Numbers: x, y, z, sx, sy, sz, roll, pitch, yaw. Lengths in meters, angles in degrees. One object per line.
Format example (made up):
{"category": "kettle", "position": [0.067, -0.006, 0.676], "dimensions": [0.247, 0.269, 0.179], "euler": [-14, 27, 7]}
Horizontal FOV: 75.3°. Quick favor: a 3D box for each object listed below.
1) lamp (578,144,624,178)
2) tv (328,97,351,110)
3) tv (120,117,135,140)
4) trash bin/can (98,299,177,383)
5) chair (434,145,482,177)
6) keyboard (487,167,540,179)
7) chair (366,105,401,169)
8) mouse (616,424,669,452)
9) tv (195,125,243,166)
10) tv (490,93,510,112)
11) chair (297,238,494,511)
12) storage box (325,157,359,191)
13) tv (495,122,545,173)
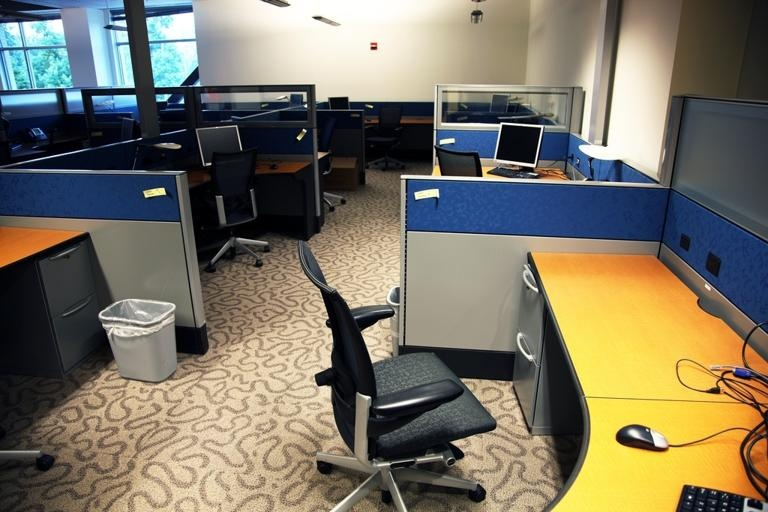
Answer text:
{"category": "lamp", "position": [1.554, -0.675, 3.598], "dimensions": [0.294, 0.188, 0.288], "euler": [-3, 39, -1]}
{"category": "tv", "position": [-0.714, -2.498, 8.099], "dimensions": [0.347, 0.318, 0.088], "euler": [-1, 6, -13]}
{"category": "tv", "position": [-2.773, -1.372, 5.396], "dimensions": [0.155, 0.226, 0.325], "euler": [-13, 27, -26]}
{"category": "trash bin/can", "position": [-1.484, 0.519, 3.034], "dimensions": [0.387, 0.426, 0.332], "euler": [3, 23, 3]}
{"category": "chair", "position": [0.596, -0.757, 4.090], "dimensions": [0.204, 0.264, 0.507], "euler": [-11, 26, -24]}
{"category": "keyboard", "position": [1.120, -0.722, 4.295], "dimensions": [0.443, 0.031, 0.436], "euler": [3, 24, 8]}
{"category": "chair", "position": [0.016, -1.900, 7.847], "dimensions": [0.604, 0.925, 0.613], "euler": [2, 17, 6]}
{"category": "mouse", "position": [0.870, 0.616, 1.683], "dimensions": [0.134, 0.047, 0.083], "euler": [0, 16, 13]}
{"category": "tv", "position": [-1.593, -1.046, 4.712], "dimensions": [0.496, 0.337, 0.271], "euler": [-4, 16, 24]}
{"category": "tv", "position": [1.139, -1.506, 4.876], "dimensions": [0.175, 0.163, 0.045], "euler": [6, 16, -7]}
{"category": "chair", "position": [0.067, 0.559, 2.216], "dimensions": [0.784, 1.216, 0.562], "euler": [-5, 24, -10]}
{"category": "storage box", "position": [-0.592, -1.123, 7.154], "dimensions": [0.462, 0.357, 0.467], "euler": [1, 35, 3]}
{"category": "tv", "position": [1.191, -0.997, 4.380], "dimensions": [0.415, 0.353, 0.063], "euler": [20, 20, 40]}
